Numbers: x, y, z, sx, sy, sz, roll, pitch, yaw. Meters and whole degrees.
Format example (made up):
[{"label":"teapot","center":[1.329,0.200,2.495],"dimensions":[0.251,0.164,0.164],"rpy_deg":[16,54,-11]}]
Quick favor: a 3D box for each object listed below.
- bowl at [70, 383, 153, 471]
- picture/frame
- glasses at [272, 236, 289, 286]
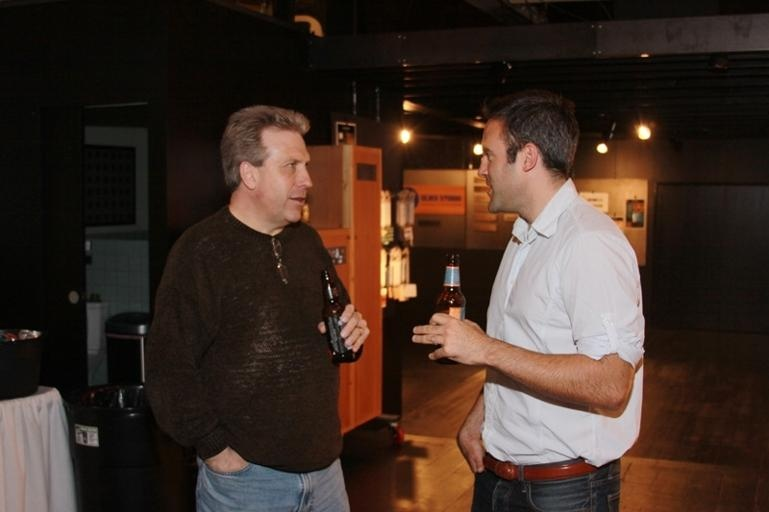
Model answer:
[{"label":"bowl","center":[-1.881,1.200,4.339],"dimensions":[0.544,0.491,0.614],"rpy_deg":[4,8,-5]},{"label":"picture/frame","center":[-3.399,-0.863,7.763],"dimensions":[0.188,1.004,0.743],"rpy_deg":[5,7,31]},{"label":"glasses","center":[-0.519,0.027,3.102],"dimensions":[0.069,0.240,0.056],"rpy_deg":[-8,-8,-30]}]
